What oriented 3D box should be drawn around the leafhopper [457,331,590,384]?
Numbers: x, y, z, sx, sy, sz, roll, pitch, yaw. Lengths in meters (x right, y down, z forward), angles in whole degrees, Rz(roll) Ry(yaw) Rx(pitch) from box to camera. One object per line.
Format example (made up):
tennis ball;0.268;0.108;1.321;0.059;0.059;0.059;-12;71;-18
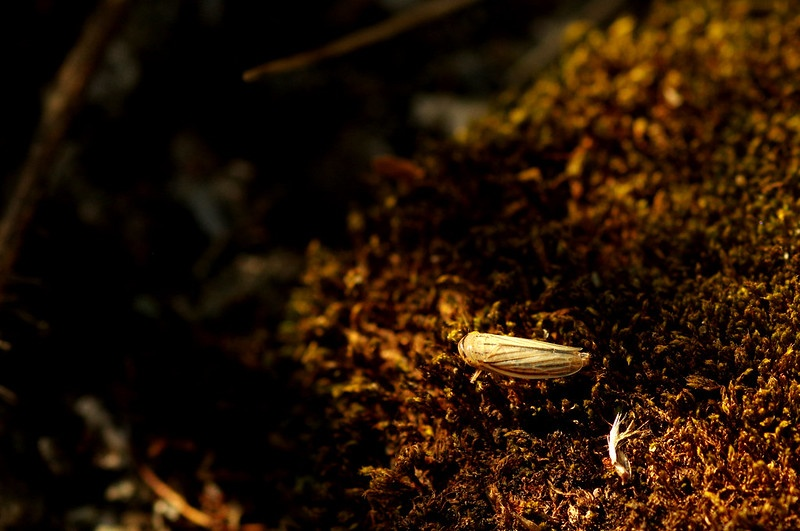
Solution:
leafhopper;0.141;0.107;0.964;0.115;0.036;0.063;4;77;12
